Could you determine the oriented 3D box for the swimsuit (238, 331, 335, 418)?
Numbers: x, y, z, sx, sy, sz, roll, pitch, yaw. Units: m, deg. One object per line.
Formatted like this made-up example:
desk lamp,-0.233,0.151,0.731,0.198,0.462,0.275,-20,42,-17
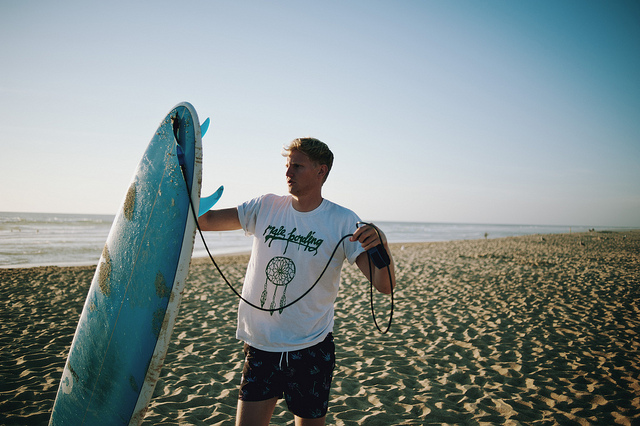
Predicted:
swimsuit,-0.304,1.723,5.339,1.035,0.943,0.735,4,-12,8
